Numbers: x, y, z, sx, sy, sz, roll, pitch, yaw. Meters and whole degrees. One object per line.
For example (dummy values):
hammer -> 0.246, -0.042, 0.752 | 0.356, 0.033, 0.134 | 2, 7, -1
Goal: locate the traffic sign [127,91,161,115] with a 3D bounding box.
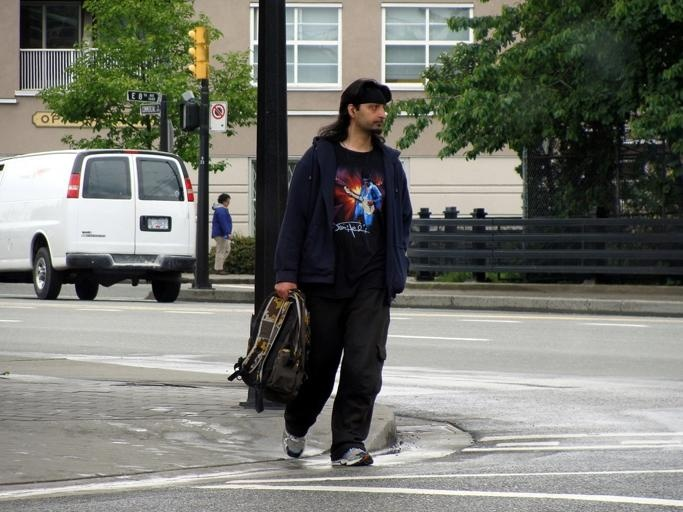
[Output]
traffic sign -> -3.647, -2.878, 28.314 | 0.561, 0.397, 1.116 | 0, 2, 0

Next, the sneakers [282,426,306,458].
sneakers -> -0.457, 1.759, 14.440 | 0.155, 0.291, 0.125 | 2, 10, -11

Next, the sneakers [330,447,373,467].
sneakers -> 0.097, 1.871, 14.180 | 0.353, 0.158, 0.170 | -7, -7, 10
